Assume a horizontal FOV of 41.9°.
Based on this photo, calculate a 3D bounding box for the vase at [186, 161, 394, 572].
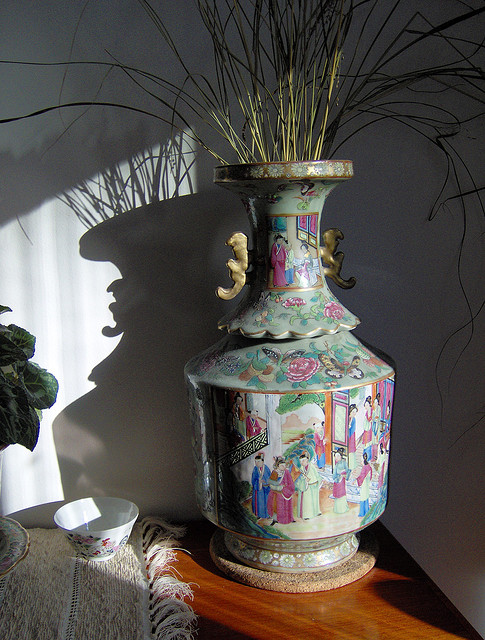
[{"bbox_3d":[0.063,0.090,0.943,0.312,0.636,0.215,-3,14,9],"label":"vase"}]

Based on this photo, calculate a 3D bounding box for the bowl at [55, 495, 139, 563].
[{"bbox_3d":[-0.253,0.368,1.108,0.146,0.066,0.128,0,13,-7],"label":"bowl"}]
